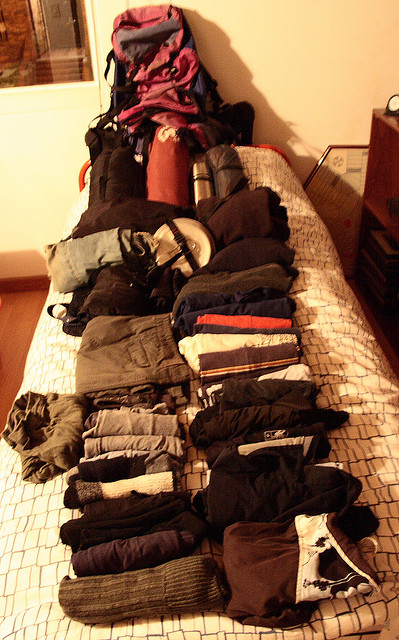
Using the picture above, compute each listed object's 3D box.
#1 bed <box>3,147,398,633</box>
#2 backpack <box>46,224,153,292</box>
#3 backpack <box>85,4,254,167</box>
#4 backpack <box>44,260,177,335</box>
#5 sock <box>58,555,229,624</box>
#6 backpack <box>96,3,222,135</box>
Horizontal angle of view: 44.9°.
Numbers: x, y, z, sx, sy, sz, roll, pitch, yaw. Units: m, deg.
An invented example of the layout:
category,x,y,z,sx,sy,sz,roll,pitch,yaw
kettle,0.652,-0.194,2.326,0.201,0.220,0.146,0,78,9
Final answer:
category,x,y,z,sx,sy,sz,roll,pitch,yaw
bed,0.013,0.127,1.268,0.657,0.198,1.415,-2,36,-3
backpack,-0.327,-0.224,1.611,0.278,0.091,0.227,-16,59,14
backpack,-0.157,-1.071,2.281,0.590,0.271,0.807,0,59,3
backpack,-0.265,-0.087,1.523,0.306,0.106,0.246,-1,35,-1
sock,-0.063,0.473,0.869,0.351,0.113,0.112,-5,58,5
backpack,-0.193,-1.129,2.150,0.453,0.621,0.226,-7,-1,9
